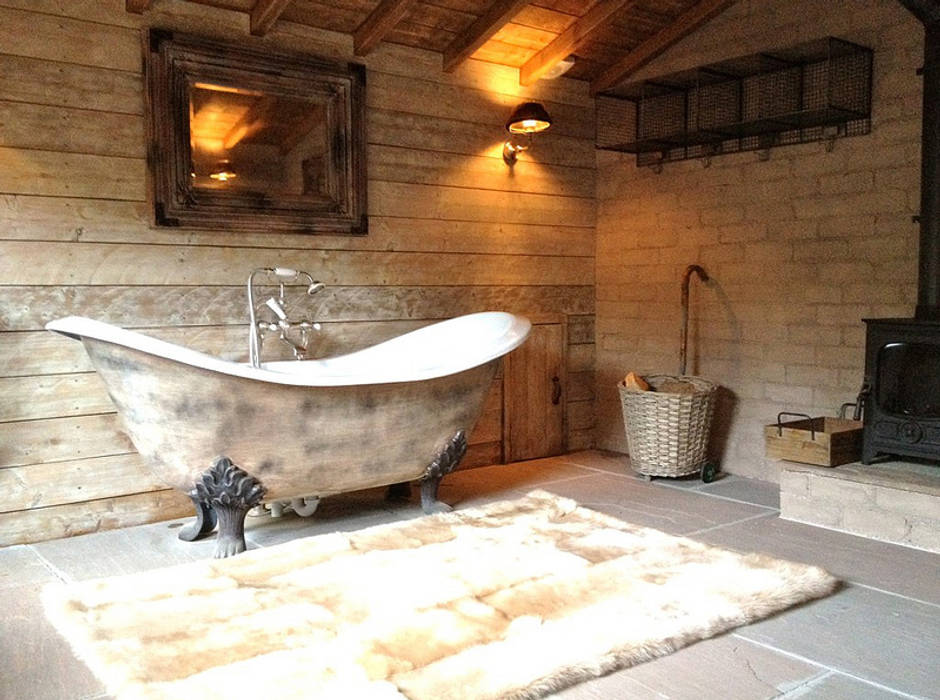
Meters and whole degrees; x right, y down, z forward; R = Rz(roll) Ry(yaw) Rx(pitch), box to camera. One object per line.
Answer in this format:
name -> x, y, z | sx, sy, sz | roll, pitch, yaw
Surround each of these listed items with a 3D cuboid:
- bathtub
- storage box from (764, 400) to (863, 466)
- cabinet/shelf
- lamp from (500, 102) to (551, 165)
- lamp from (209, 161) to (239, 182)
bathtub -> -0.744, 0.400, 3.234 | 2.354, 0.703, 0.938 | 7, -12, -39
storage box -> 1.694, 0.411, 3.430 | 0.433, 0.183, 0.440 | 4, 7, 44
cabinet/shelf -> 1.434, -1.386, 4.175 | 1.539, 0.387, 0.400 | 11, 48, 44
lamp -> 0.313, -1.290, 4.243 | 0.239, 0.349, 0.359 | 1, 13, -4
lamp -> -1.210, -0.880, 3.468 | 0.146, 0.079, 0.119 | 0, -4, 0
